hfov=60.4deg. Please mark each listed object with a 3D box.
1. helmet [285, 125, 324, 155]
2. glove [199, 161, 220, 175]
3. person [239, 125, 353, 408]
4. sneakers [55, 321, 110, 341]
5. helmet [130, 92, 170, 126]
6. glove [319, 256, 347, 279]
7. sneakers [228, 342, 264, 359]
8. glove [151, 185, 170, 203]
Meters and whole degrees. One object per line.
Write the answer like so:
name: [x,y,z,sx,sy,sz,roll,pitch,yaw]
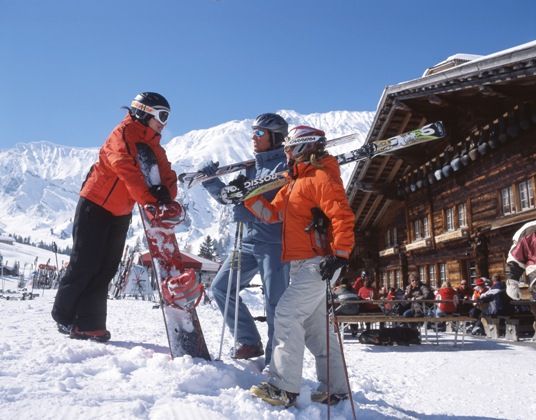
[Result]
helmet: [0.391,-0.672,4.509,0.426,0.335,0.341,2,3,6]
glove: [-0.667,-0.463,5.258,0.183,0.177,0.061,-29,-20,2]
person: [0.324,0.413,4.204,0.866,2.559,0.668,2,-11,8]
sneakers: [-1.908,1.237,4.741,0.368,0.148,0.120,17,-14,-2]
helmet: [-1.222,-1.086,4.813,0.421,0.320,0.330,9,13,-28]
glove: [0.561,0.487,3.959,0.228,0.205,0.087,2,-11,6]
sneakers: [-0.217,1.506,4.979,0.488,0.201,0.155,3,-9,-11]
glove: [-1.009,-0.162,4.337,0.142,0.193,0.070,-35,-9,-21]
